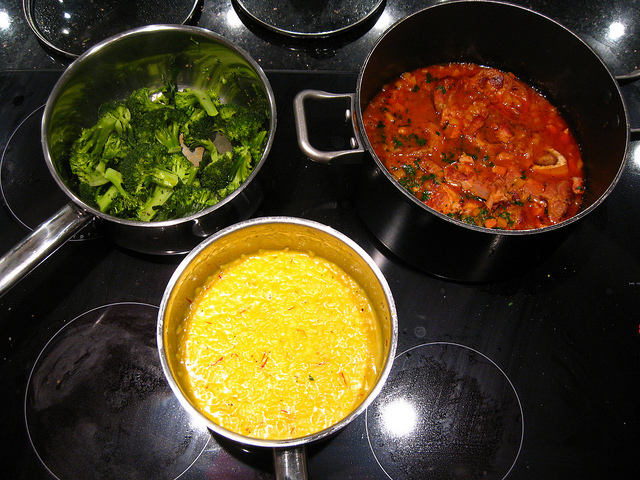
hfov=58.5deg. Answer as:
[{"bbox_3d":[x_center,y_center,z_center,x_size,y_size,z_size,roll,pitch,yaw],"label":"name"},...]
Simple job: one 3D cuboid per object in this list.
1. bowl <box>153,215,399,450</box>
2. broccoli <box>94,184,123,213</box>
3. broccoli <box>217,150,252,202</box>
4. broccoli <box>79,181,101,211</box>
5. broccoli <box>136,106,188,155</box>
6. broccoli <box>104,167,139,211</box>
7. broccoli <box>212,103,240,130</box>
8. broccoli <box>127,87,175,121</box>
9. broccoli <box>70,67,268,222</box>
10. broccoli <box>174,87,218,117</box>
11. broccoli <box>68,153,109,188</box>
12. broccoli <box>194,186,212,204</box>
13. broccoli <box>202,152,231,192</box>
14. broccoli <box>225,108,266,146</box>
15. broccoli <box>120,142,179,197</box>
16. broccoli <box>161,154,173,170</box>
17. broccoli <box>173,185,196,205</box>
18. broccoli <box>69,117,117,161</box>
[{"bbox_3d":[-0.138,0.315,1.956,0.779,0.230,0.755,1,70,-1],"label":"bowl"},{"bbox_3d":[-0.821,-0.175,2.229,0.032,0.081,0.125,-36,49,0],"label":"broccoli"},{"bbox_3d":[-0.342,-0.241,2.307,0.110,0.058,0.213,28,77,-10],"label":"broccoli"},{"bbox_3d":[-0.910,-0.169,2.228,0.094,0.035,0.107,-15,90,-26],"label":"broccoli"},{"bbox_3d":[-0.619,-0.445,2.365,0.166,0.185,0.185,-10,43,16],"label":"broccoli"},{"bbox_3d":[-0.772,-0.202,2.273,0.103,0.081,0.179,-39,89,-12],"label":"broccoli"},{"bbox_3d":[-0.384,-0.514,2.352,0.075,0.046,0.109,21,69,27],"label":"broccoli"},{"bbox_3d":[-0.710,-0.550,2.387,0.147,0.088,0.136,2,70,-7],"label":"broccoli"},{"bbox_3d":[-0.593,-0.349,2.306,0.774,0.142,0.571,-4,70,-3],"label":"broccoli"},{"bbox_3d":[-0.512,-0.565,2.366,0.139,0.054,0.128,12,82,-6],"label":"broccoli"},{"bbox_3d":[-0.924,-0.289,2.298,0.178,0.233,0.067,0,73,-12],"label":"broccoli"},{"bbox_3d":[-0.458,-0.175,2.219,0.055,0.062,0.065,9,54,23],"label":"broccoli"},{"bbox_3d":[-0.402,-0.256,2.225,0.080,0.065,0.149,23,68,-5],"label":"broccoli"},{"bbox_3d":[-0.305,-0.462,2.358,0.129,0.124,0.151,3,72,11],"label":"broccoli"},{"bbox_3d":[-0.661,-0.264,2.190,0.189,0.104,0.193,14,81,-4],"label":"broccoli"},{"bbox_3d":[-0.606,-0.308,2.269,0.044,0.016,0.050,-3,94,-6],"label":"broccoli"},{"bbox_3d":[-0.524,-0.171,2.203,0.063,0.060,0.073,-37,47,16],"label":"broccoli"},{"bbox_3d":[-0.894,-0.402,2.283,0.129,0.052,0.197,39,90,6],"label":"broccoli"}]
